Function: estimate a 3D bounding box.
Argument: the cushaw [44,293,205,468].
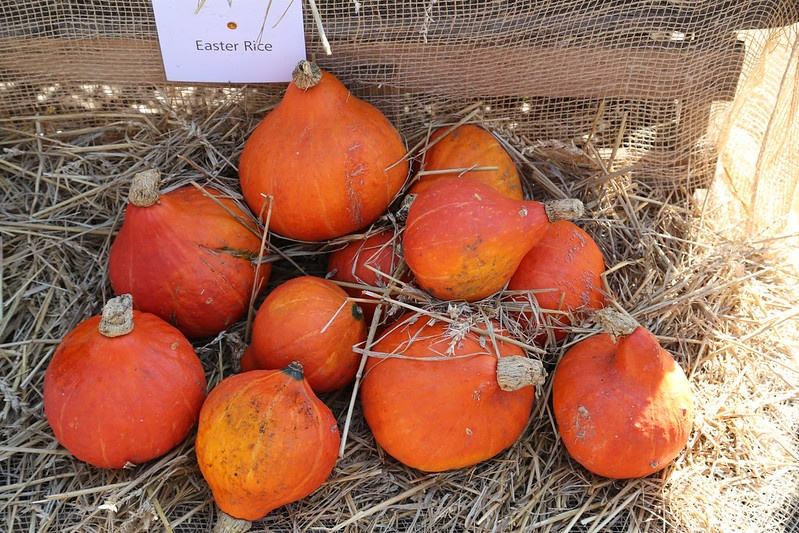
[{"bbox_3d":[-0.783,0.318,1.854,0.402,0.400,0.240,-5,34,-13],"label":"cushaw"}]

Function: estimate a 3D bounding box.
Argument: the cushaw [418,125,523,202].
[{"bbox_3d":[0.213,-0.351,2.222,0.272,0.269,0.281,-3,50,-16],"label":"cushaw"}]
